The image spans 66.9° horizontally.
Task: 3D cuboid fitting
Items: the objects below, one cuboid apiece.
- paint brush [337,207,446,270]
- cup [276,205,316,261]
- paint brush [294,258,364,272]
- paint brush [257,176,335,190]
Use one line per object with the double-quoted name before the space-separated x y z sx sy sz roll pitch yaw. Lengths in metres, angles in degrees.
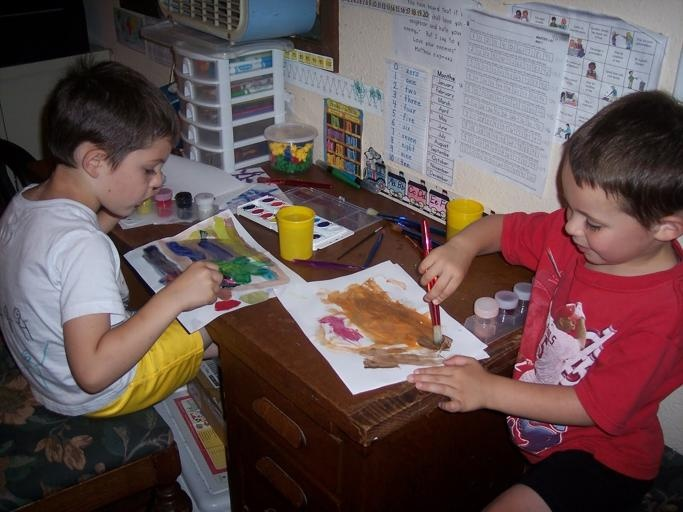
"paint brush" 0.158 -0.058 1.317 0.199 0.029 0.157 17 52 39
"cup" -0.118 -0.053 1.243 0.097 0.113 0.095 1 6 0
"paint brush" -0.029 0.021 1.193 0.114 0.018 0.016 5 -17 2
"paint brush" -0.135 -0.219 1.538 0.186 0.028 0.020 9 15 6
